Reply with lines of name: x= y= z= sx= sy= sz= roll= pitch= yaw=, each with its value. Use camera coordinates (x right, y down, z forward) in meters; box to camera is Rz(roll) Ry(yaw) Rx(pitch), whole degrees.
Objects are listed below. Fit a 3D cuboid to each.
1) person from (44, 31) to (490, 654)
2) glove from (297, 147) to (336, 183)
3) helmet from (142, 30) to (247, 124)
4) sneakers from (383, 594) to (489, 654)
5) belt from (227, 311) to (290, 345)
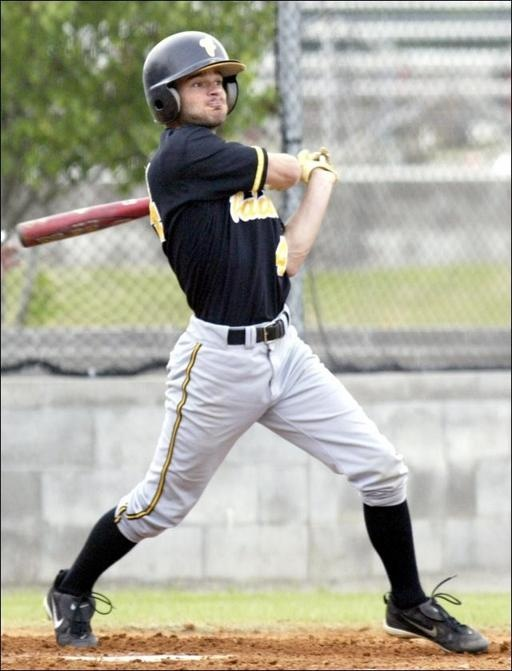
person: x=0.009 y=0.220 z=4.645 sx=1.460 sy=1.993 sz=0.751 roll=-3 pitch=-8 yaw=-10
glove: x=0.209 y=-0.696 z=4.708 sx=0.145 sy=0.137 sz=0.061 roll=-6 pitch=-23 yaw=-17
helmet: x=-0.229 y=-0.988 z=4.549 sx=0.316 sy=0.296 sz=0.387 roll=-14 pitch=16 yaw=-27
sneakers: x=0.644 y=1.078 z=4.761 sx=0.444 sy=0.178 sz=0.160 roll=13 pitch=-12 yaw=10
belt: x=0.021 y=-0.049 z=4.487 sx=0.258 sy=0.132 sz=0.067 roll=1 pitch=-10 yaw=-34
